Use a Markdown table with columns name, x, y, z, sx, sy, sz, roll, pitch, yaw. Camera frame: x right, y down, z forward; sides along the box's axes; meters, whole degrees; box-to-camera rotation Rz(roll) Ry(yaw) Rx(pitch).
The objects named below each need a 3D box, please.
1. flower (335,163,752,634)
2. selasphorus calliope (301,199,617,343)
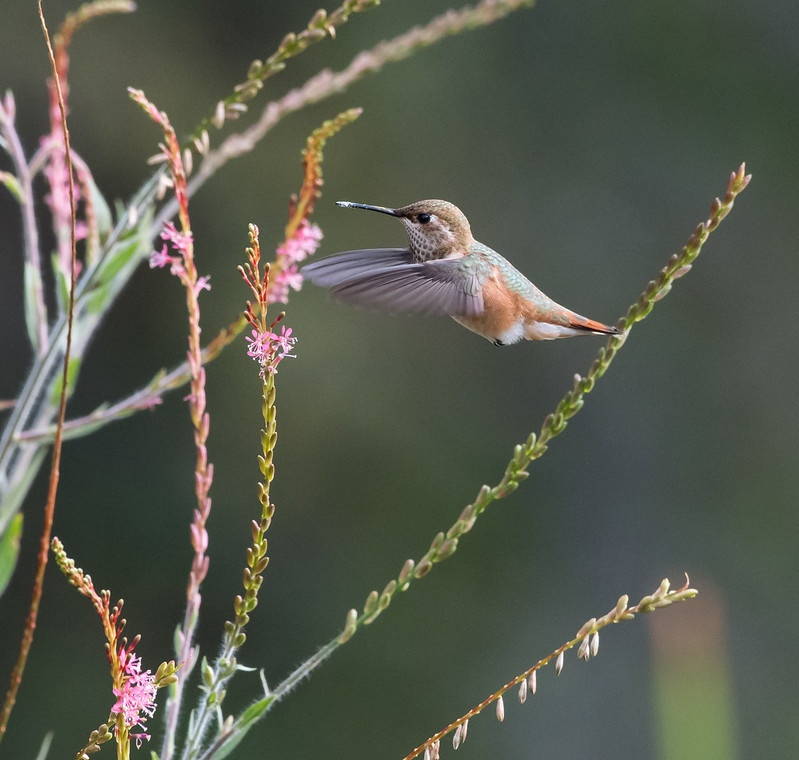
| name | x | y | z | sx | sy | sz | roll | pitch | yaw |
| --- | --- | --- | --- | --- | --- | --- | --- | --- | --- |
| flower | 0.270 | 0.053 | 2.357 | 0.182 | 1.178 | 0.107 | 42 | -7 | -39 |
| selasphorus calliope | 0.085 | -0.151 | 1.817 | 0.362 | 0.196 | 0.271 | 12 | 2 | -8 |
